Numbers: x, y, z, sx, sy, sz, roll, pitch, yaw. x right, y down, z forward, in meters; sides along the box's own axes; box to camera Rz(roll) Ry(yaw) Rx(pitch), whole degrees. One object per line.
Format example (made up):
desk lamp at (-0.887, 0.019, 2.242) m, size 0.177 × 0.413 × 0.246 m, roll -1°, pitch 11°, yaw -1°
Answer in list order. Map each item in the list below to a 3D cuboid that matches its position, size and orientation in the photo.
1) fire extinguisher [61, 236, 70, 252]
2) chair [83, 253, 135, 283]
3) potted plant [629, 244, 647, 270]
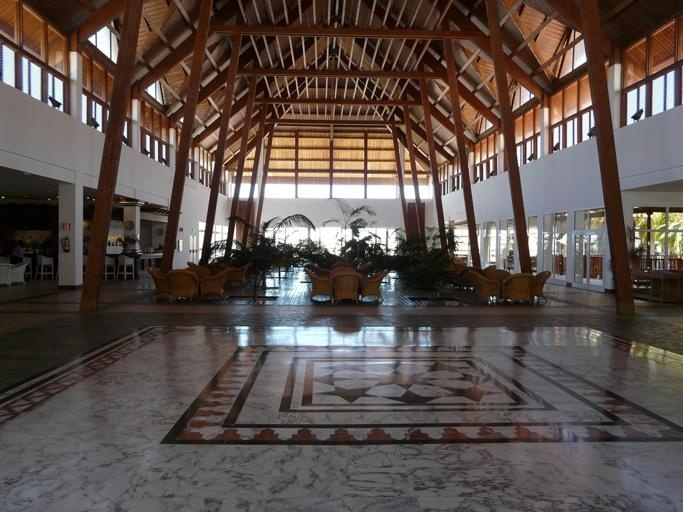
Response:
fire extinguisher at (-8.066, -0.317, 11.878) m, size 0.263 × 0.486 × 0.160 m, roll 0°, pitch 1°, yaw -11°
chair at (-7.347, 0.387, 12.902) m, size 0.951 × 1.281 × 0.917 m, roll 1°, pitch 6°, yaw 6°
potted plant at (8.784, 0.041, 12.071) m, size 0.445 × 0.711 × 0.153 m, roll 0°, pitch 1°, yaw 1°
